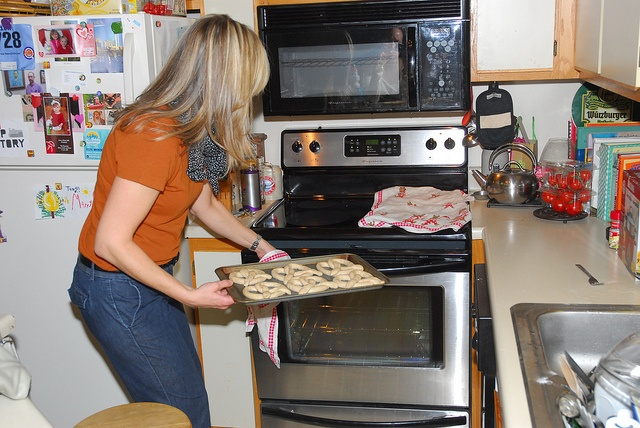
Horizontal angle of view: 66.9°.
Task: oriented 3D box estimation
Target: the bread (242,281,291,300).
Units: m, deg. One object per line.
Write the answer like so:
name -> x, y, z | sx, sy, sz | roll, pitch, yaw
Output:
bread -> -0.188, 0.270, 1.712 | 0.079, 0.020, 0.080 | 7, 12, 23

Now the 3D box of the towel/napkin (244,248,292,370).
towel/napkin -> -0.228, 0.388, 2.116 | 0.252, 0.456, 0.069 | 5, 4, 17

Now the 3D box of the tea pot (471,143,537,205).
tea pot -> 0.925, -0.212, 2.414 | 0.322, 0.296, 0.256 | 4, 14, 20

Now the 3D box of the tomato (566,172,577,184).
tomato -> 1.067, -0.147, 2.054 | 0.037, 0.046, 0.042 | -3, 3, 3

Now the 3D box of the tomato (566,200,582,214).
tomato -> 1.085, -0.034, 2.083 | 0.056, 0.068, 0.056 | -7, 3, 3

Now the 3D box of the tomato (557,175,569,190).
tomato -> 1.034, -0.131, 2.078 | 0.047, 0.057, 0.047 | -6, 4, 17

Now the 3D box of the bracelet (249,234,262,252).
bracelet -> -0.264, 0.117, 2.014 | 0.044, 0.066, 0.061 | 30, 13, 21

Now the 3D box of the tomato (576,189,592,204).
tomato -> 1.119, -0.075, 2.061 | 0.055, 0.055, 0.053 | 0, 10, -3

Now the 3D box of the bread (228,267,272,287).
bread -> -0.257, 0.233, 1.821 | 0.078, 0.020, 0.079 | -10, 17, -43

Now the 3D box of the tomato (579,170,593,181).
tomato -> 1.118, -0.163, 2.044 | 0.058, 0.052, 0.015 | -9, 18, -18

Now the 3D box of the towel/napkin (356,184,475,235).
towel/napkin -> 0.451, -0.032, 2.237 | 0.465, 0.084, 0.497 | 2, 18, 17

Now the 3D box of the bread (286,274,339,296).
bread -> -0.024, 0.256, 1.753 | 0.148, 0.032, 0.164 | -13, 20, -29

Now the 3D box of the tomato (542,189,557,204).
tomato -> 1.007, -0.078, 2.157 | 0.055, 0.064, 0.053 | -1, 15, 6

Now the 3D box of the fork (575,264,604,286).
fork -> 0.913, 0.203, 1.655 | 0.041, 0.009, 0.163 | -1, 18, 8

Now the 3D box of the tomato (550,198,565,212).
tomato -> 1.040, -0.038, 2.119 | 0.048, 0.059, 0.049 | -1, 1, 17

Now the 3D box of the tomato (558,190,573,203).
tomato -> 1.055, -0.073, 2.080 | 0.046, 0.046, 0.050 | -2, 17, -7

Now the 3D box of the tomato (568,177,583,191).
tomato -> 1.079, -0.128, 2.049 | 0.048, 0.058, 0.049 | -3, 6, 40

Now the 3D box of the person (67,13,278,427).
person -> -0.495, 0.092, 1.709 | 0.764, 1.461, 0.447 | -11, 19, -23
